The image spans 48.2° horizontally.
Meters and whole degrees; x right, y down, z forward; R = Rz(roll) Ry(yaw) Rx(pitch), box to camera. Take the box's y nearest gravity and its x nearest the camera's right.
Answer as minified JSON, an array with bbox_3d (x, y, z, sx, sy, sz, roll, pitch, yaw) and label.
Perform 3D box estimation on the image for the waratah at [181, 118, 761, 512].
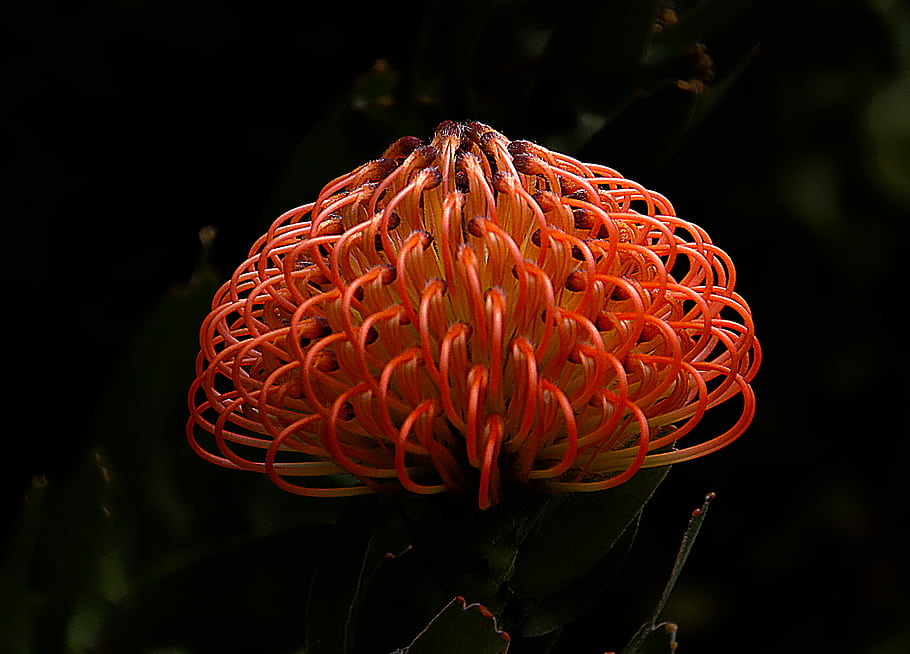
[{"bbox_3d":[0.000,-0.036,1.441,0.742,0.455,0.808,-5,4,-2],"label":"waratah"}]
